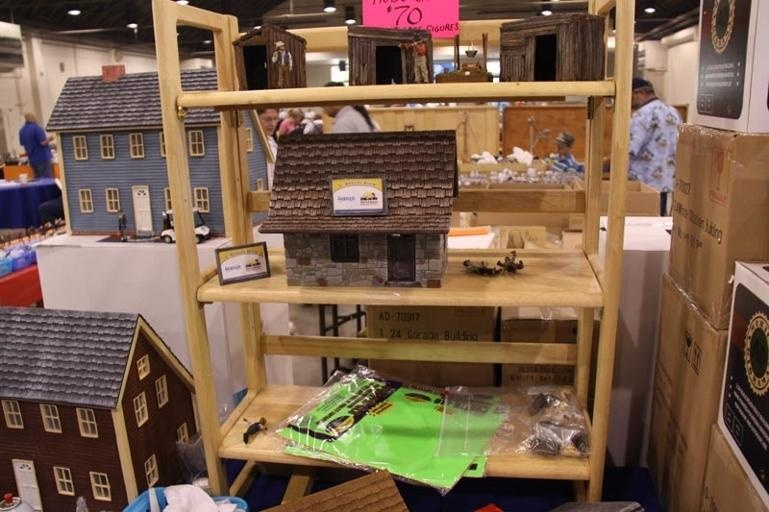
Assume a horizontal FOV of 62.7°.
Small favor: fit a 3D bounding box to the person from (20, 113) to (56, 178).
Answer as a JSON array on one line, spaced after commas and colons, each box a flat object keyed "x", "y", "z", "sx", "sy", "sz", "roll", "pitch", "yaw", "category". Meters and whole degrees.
[{"x": -5.139, "y": -1.625, "z": 9.332, "sx": 0.404, "sy": 0.922, "sz": 1.096, "roll": -9, "pitch": 15, "yaw": -27, "category": "person"}]

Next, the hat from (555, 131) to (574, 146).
[{"x": 1.974, "y": -1.264, "z": 6.912, "sx": 0.138, "sy": 0.152, "sz": 0.170, "roll": -37, "pitch": 41, "yaw": -21, "category": "hat"}]

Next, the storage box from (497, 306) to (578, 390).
[{"x": 0.759, "y": 0.424, "z": 3.226, "sx": 0.384, "sy": 0.371, "sz": 0.374, "roll": -1, "pitch": 16, "yaw": 6, "category": "storage box"}]

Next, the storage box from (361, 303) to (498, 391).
[{"x": 0.234, "y": 0.408, "z": 3.139, "sx": 0.482, "sy": 0.303, "sz": 0.484, "roll": 2, "pitch": 10, "yaw": 8, "category": "storage box"}]

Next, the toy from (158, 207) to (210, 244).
[{"x": -1.169, "y": -0.165, "z": 3.633, "sx": 0.265, "sy": 0.196, "sz": 0.148, "roll": 0, "pitch": 4, "yaw": -11, "category": "toy"}]
